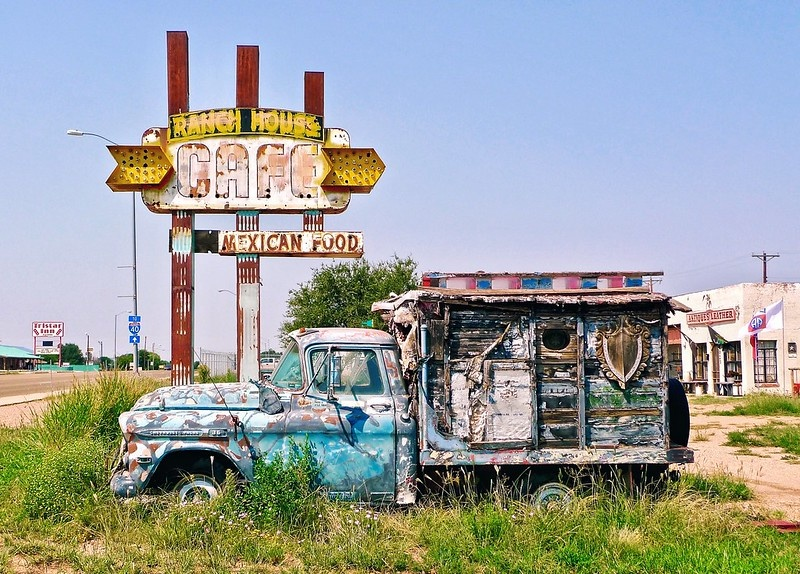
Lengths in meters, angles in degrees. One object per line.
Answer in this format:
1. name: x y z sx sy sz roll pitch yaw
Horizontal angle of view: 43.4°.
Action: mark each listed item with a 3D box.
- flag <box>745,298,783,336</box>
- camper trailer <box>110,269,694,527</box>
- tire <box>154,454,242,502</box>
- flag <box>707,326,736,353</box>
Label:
1. flag: 12.969 1.162 37.839 0.103 1.284 1.224 6 -7 -42
2. camper trailer: 0.428 1.568 14.583 7.155 3.178 0.658 0 -3 -2
3. tire: -2.755 2.900 14.571 0.853 0.956 0.366 -17 37 -7
4. flag: 12.243 2.084 40.427 0.696 0.220 1.343 45 4 35
